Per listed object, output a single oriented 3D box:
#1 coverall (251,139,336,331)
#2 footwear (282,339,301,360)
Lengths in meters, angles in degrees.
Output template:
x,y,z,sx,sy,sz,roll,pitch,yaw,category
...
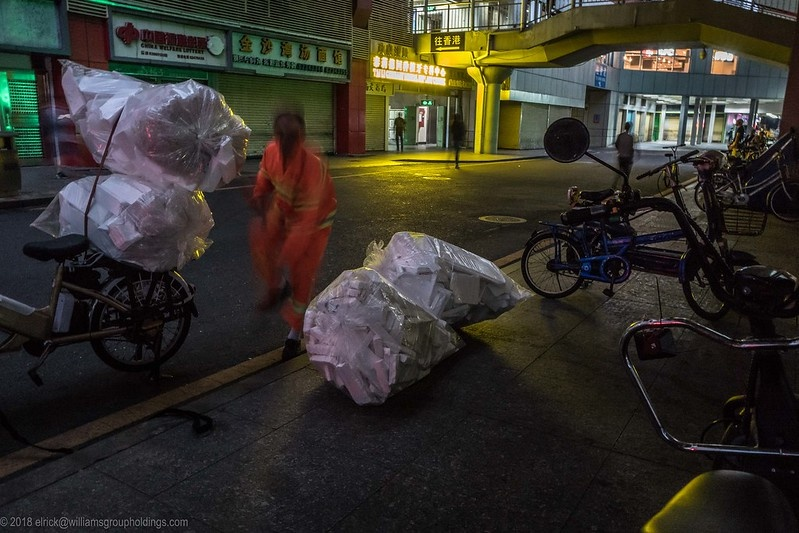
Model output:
x,y,z,sx,sy,sz,roll,pitch,yaw,category
-1.088,-0.315,5.467,0.768,1.756,0.624,10,19,26,coverall
-1.050,0.805,5.438,0.212,0.217,0.129,-8,13,-31,footwear
